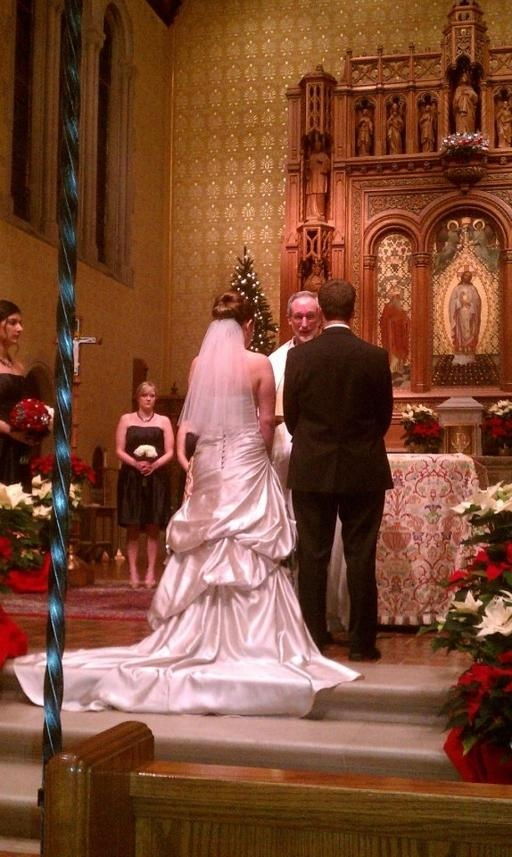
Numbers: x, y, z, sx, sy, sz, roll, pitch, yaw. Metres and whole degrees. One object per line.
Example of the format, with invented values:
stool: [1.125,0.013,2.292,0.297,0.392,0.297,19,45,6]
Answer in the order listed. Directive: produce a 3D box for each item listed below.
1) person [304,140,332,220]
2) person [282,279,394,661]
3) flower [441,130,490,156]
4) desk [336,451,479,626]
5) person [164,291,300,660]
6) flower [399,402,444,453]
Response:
person: [0.735,-3.006,10.485,0.278,0.754,0.216,2,-1,-42]
person: [0.328,0.162,3.620,0.472,1.179,0.292,1,-1,7]
flower: [2.353,-3.197,9.832,0.336,0.193,0.335,-7,5,-41]
desk: [0.780,0.559,4.606,0.759,0.790,0.819,1,-2,6]
person: [-0.113,0.193,3.800,0.646,1.517,0.601,2,2,12]
flower: [1.686,0.012,8.819,0.460,0.534,0.462,0,-6,-9]
